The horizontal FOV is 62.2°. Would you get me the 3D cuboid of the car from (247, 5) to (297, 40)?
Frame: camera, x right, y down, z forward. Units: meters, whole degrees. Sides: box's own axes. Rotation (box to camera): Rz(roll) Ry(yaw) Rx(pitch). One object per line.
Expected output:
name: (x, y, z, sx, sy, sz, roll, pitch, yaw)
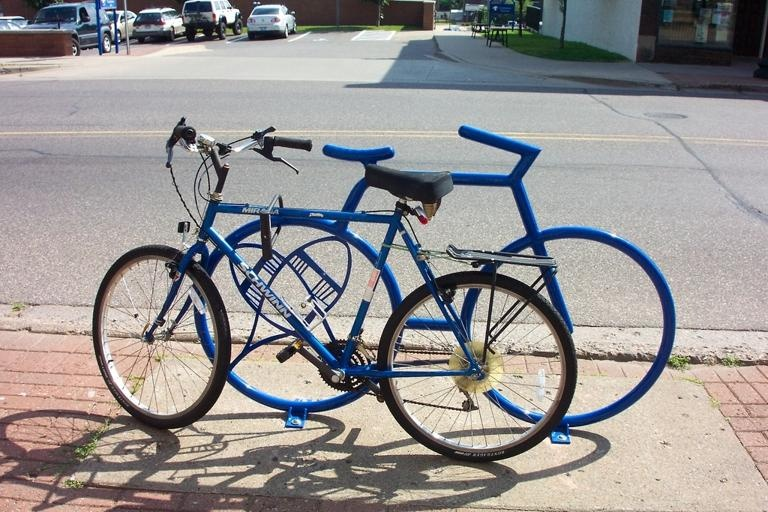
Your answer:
car: (-6.583, -13.637, 36.931, 1.917, 1.924, 2.481, 5, 20, 15)
